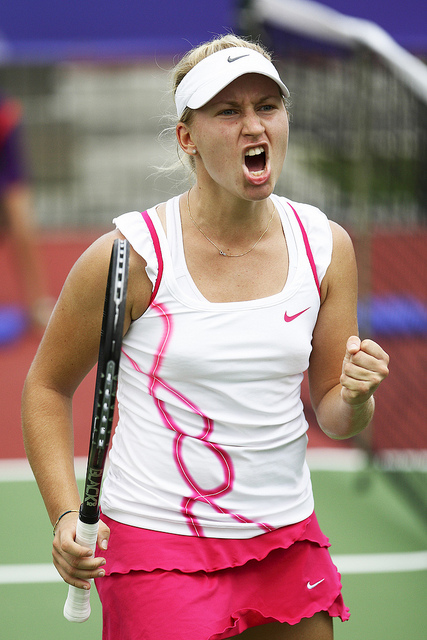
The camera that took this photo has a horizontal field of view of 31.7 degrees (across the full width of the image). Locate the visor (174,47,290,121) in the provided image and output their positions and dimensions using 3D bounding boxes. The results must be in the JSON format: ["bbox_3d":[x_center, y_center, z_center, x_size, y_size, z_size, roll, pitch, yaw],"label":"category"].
[{"bbox_3d":[0.055,-0.660,2.130,0.315,0.155,0.433,-12,4,-8],"label":"visor"}]

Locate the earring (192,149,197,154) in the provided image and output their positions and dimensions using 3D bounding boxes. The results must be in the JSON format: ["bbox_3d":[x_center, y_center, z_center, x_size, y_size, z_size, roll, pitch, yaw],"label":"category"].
[{"bbox_3d":[-0.053,-0.476,2.131,0.014,0.013,0.007,-2,-2,5],"label":"earring"}]
